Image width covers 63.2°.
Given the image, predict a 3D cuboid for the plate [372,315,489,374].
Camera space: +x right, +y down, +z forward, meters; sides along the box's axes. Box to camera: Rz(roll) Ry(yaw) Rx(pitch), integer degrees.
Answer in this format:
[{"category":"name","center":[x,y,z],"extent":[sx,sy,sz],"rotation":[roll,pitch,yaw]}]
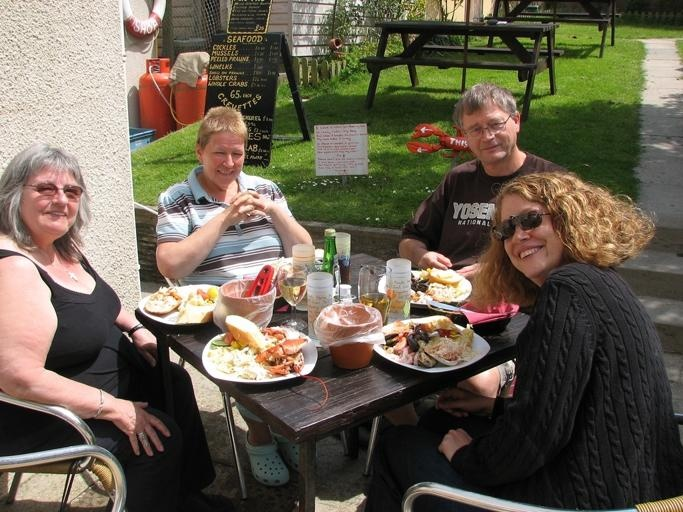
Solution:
[{"category":"plate","center":[0.359,0.360,2.271],"extent":[0.334,0.071,0.284],"rotation":[-17,21,-40]}]

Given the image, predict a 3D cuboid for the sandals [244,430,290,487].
[{"category":"sandals","center":[-0.431,1.116,3.086],"extent":[0.193,0.124,0.381],"rotation":[-2,16,-22]}]

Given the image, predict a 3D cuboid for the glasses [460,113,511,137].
[{"category":"glasses","center":[0.918,-0.811,3.464],"extent":[0.288,0.131,0.147],"rotation":[2,19,12]}]

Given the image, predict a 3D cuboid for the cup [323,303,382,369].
[{"category":"cup","center":[0.047,0.314,2.258],"extent":[0.287,0.185,0.240],"rotation":[-8,22,-26]}]

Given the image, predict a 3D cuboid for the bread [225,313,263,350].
[{"category":"bread","center":[-0.380,0.304,2.207],"extent":[0.174,0.045,0.102],"rotation":[37,15,-16]}]

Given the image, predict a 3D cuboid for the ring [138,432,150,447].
[{"category":"ring","center":[-0.850,0.786,2.380],"extent":[0.045,0.060,0.024],"rotation":[-10,-15,-7]}]

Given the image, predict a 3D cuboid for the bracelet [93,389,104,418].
[{"category":"bracelet","center":[-1.031,0.628,2.360],"extent":[0.029,0.081,0.096],"rotation":[11,0,-35]}]

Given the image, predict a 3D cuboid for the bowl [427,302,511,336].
[{"category":"bowl","center":[0.606,0.272,2.547],"extent":[0.378,0.099,0.326],"rotation":[6,12,28]}]

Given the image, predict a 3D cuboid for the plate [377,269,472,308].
[{"category":"plate","center":[0.488,0.170,2.784],"extent":[0.309,0.041,0.263],"rotation":[2,21,8]}]

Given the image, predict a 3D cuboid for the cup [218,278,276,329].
[{"category":"cup","center":[-0.403,0.209,2.426],"extent":[0.247,0.149,0.231],"rotation":[5,18,-2]}]
